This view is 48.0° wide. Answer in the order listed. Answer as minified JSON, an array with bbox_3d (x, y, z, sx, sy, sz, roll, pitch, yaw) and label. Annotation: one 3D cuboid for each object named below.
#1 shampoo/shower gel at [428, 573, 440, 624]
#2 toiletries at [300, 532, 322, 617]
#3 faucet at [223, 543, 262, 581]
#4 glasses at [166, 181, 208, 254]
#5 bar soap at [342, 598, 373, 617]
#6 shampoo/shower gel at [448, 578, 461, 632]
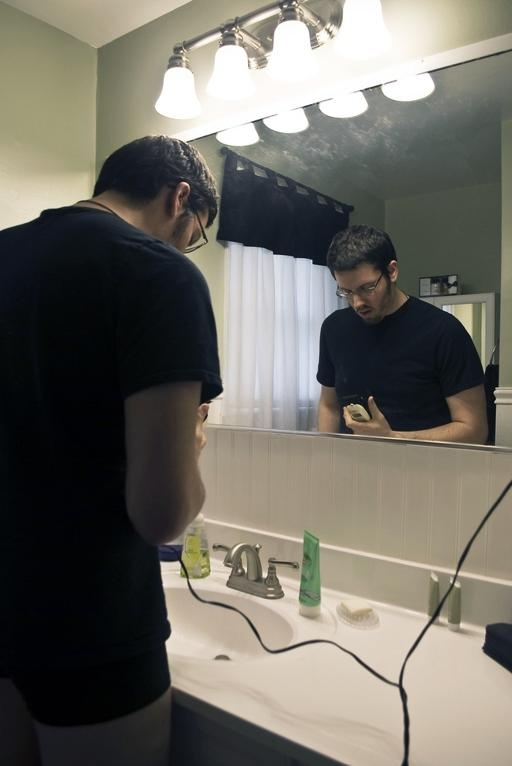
[{"bbox_3d":[0.309,0.372,1.006,0.019,0.077,0.034,1,1,18],"label":"shampoo/shower gel"},{"bbox_3d":[0.098,0.347,1.045,0.037,0.145,0.056,1,1,10],"label":"toiletries"},{"bbox_3d":[-0.020,0.360,1.155,0.045,0.084,0.095,-5,-11,36],"label":"faucet"},{"bbox_3d":[-0.087,-0.227,0.778,0.065,0.029,0.046,-48,19,-25],"label":"glasses"},{"bbox_3d":[0.178,0.398,1.020,0.043,0.015,0.048,0,2,-15],"label":"bar soap"},{"bbox_3d":[0.338,0.381,0.984,0.023,0.077,0.038,1,2,20],"label":"shampoo/shower gel"}]
